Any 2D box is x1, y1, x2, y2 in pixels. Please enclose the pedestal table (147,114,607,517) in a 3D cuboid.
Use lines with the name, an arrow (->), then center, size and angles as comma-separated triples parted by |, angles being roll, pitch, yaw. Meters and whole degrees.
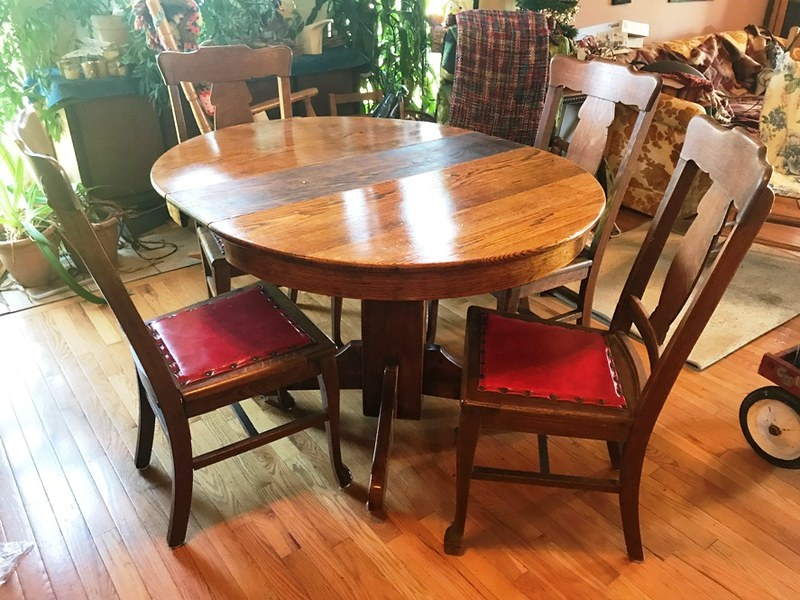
pedestal table -> -0.252, -0.073, 2.747 | 1.385, 1.354, 2.011 | -10, 35, -19

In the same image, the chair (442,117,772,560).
chair -> 0.554, 0.122, 1.845 | 0.712, 1.250, 0.767 | 5, 33, 6

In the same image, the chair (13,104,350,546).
chair -> -0.568, 0.127, 1.854 | 0.661, 1.216, 0.562 | -16, 37, -25

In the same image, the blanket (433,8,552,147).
blanket -> 0.640, -1.438, 4.023 | 0.807, 0.984, 0.310 | 6, 12, -3
